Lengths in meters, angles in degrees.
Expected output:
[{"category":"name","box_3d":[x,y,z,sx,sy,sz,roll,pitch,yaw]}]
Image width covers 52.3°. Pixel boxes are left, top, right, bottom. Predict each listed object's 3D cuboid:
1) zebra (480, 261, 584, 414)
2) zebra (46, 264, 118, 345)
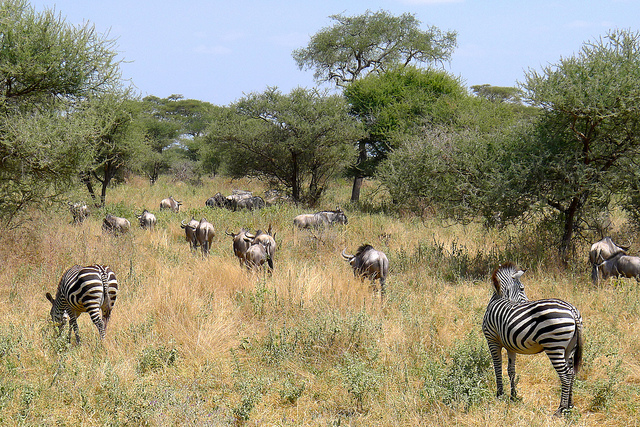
[{"category":"zebra","box_3d":[4.205,2.467,13.466,1.226,2.804,3.027,3,-2,-17]},{"category":"zebra","box_3d":[-5.275,2.018,14.489,1.246,1.750,0.750,-1,-7,24]}]
